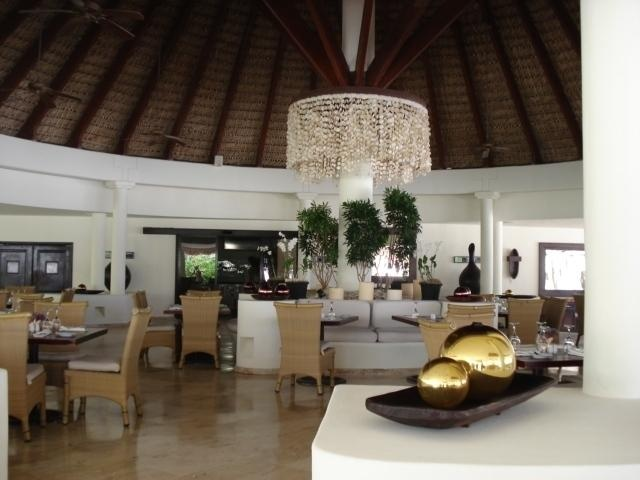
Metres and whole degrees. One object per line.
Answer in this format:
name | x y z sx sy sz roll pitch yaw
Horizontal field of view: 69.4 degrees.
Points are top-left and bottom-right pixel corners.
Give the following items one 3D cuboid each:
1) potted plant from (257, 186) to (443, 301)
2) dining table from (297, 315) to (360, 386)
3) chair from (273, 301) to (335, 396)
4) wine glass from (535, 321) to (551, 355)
potted plant | 0.764 0.049 8.080 1.430 1.879 2.105 3 -4 -40
dining table | 0.120 1.446 6.349 0.809 0.857 0.854 -2 -5 13
chair | -0.201 1.328 5.920 0.657 1.140 0.795 -1 -3 20
wine glass | 2.171 0.937 4.495 0.112 0.228 0.597 -1 -3 25
